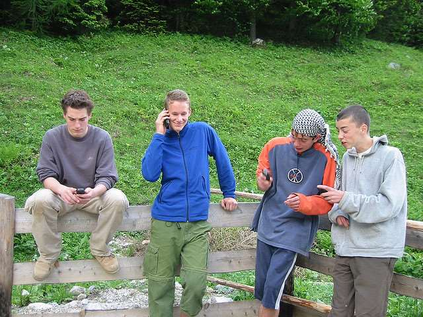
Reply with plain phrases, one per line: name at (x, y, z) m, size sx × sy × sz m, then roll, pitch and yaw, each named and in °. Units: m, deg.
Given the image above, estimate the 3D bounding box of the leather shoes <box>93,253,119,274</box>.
leather shoes at (-1.257, 1.292, 5.128) m, size 0.364 × 0.146 × 0.159 m, roll 29°, pitch 54°, yaw 27°

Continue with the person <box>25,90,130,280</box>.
person at (-1.639, 0.327, 5.183) m, size 1.163 × 2.224 × 0.816 m, roll 4°, pitch 13°, yaw -11°

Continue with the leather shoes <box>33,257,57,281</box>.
leather shoes at (-2.009, 1.335, 5.010) m, size 0.167 × 0.137 × 0.352 m, roll 38°, pitch 23°, yaw -14°

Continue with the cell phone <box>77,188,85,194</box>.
cell phone at (-1.540, 0.376, 4.954) m, size 0.103 × 0.074 × 0.138 m, roll 2°, pitch 14°, yaw -18°

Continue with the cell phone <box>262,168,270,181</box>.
cell phone at (0.654, 0.198, 5.046) m, size 0.018 × 0.162 × 0.089 m, roll -35°, pitch 52°, yaw -29°
